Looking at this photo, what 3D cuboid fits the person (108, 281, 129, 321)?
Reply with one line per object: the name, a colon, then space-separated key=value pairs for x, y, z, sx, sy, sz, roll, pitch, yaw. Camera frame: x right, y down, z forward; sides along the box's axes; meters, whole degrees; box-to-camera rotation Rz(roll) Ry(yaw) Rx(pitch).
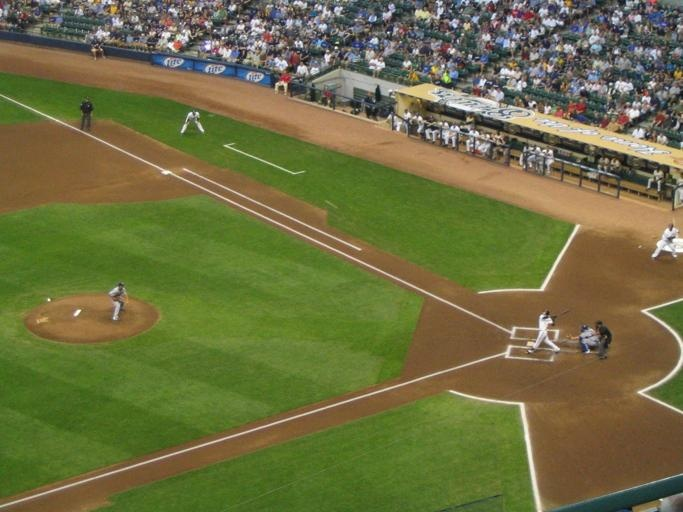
person: x=-10.223 y=2.026 z=66.076 sx=0.765 sy=1.887 sz=1.071 roll=10 pitch=16 yaw=-7
